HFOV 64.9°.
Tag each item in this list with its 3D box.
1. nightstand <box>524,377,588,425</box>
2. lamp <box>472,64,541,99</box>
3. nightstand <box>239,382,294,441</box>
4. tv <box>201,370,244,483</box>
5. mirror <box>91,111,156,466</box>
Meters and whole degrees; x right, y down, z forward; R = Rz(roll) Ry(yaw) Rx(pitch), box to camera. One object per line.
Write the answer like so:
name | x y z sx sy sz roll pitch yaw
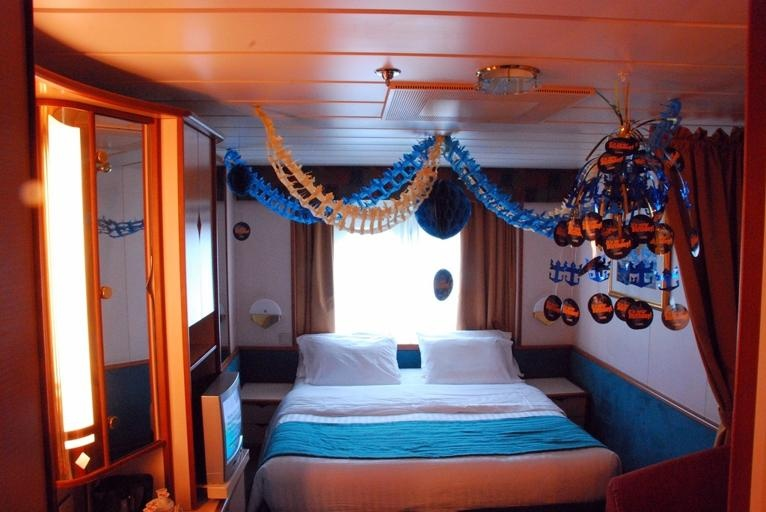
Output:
nightstand | 1.478 1.190 5.030 0.364 0.338 0.363 -1 3 1
lamp | 0.547 -0.759 2.617 0.288 0.086 0.180 0 -1 -4
nightstand | -0.943 1.192 4.806 0.492 0.478 0.355 1 -1 -8
tv | -0.833 0.882 3.081 0.199 0.543 0.615 -2 -1 -5
mirror | -1.110 0.145 2.598 0.059 1.454 0.271 0 0 26
